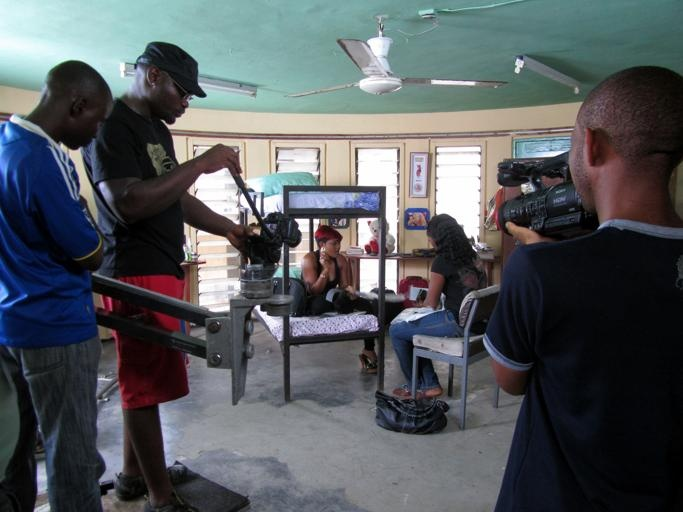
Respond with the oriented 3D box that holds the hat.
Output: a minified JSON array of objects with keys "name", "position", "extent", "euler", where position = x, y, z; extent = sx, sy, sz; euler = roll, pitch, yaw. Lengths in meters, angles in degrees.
[{"name":"hat","position":[-0.812,-0.902,2.538],"extent":[0.359,0.173,0.228],"euler":[19,-6,-18]}]

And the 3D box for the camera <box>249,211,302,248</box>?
[{"name":"camera","position":[-0.303,-0.149,2.495],"extent":[0.145,0.116,0.239],"euler":[7,19,-7]}]

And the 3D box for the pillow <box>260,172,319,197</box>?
[{"name":"pillow","position":[-0.736,-1.094,7.763],"extent":[0.841,0.232,0.719],"euler":[-4,5,-19]}]

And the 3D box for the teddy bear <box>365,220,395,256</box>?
[{"name":"teddy bear","position":[0.605,-0.295,8.054],"extent":[0.429,0.566,0.463],"euler":[-7,-6,40]}]

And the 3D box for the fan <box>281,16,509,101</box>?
[{"name":"fan","position":[0.433,-1.796,4.735],"extent":[1.601,0.525,0.623],"euler":[-5,8,-44]}]

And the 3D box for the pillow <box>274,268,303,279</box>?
[{"name":"pillow","position":[-0.698,0.231,7.334],"extent":[0.277,0.108,0.366],"euler":[0,-3,-1]}]

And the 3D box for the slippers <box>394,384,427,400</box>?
[{"name":"slippers","position":[0.617,1.190,4.619],"extent":[0.308,0.096,0.147],"euler":[1,-1,1]}]

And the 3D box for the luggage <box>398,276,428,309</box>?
[{"name":"luggage","position":[1.058,0.509,7.629],"extent":[0.478,0.474,0.378],"euler":[6,-5,6]}]

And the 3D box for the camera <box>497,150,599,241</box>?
[{"name":"camera","position":[0.870,-0.218,2.041],"extent":[0.173,0.371,0.516],"euler":[-2,-2,-21]}]
